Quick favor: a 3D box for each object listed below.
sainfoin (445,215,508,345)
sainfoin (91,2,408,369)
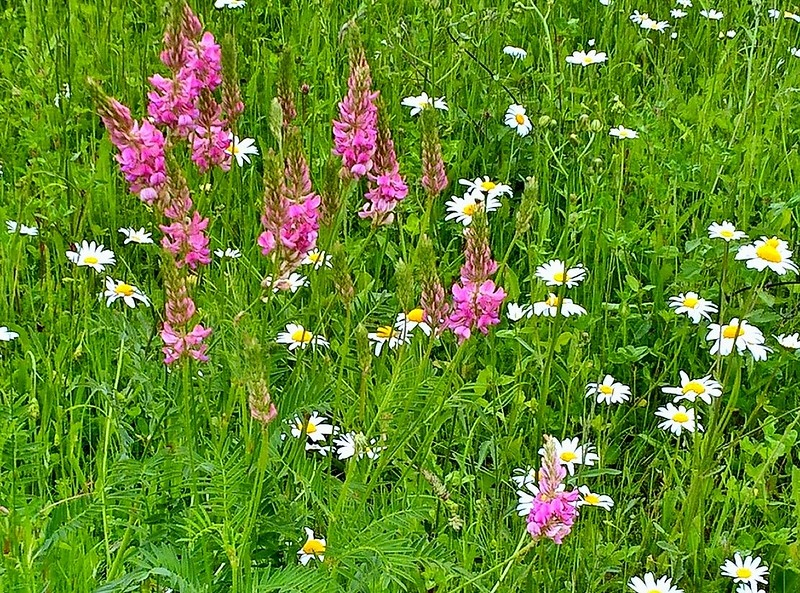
[{"bbox_3d":[0.212,-0.043,2.456,0.153,0.466,0.223,3,27,7],"label":"sainfoin"},{"bbox_3d":[-0.466,-0.382,2.478,0.672,0.481,1.144,-3,42,-7],"label":"sainfoin"}]
